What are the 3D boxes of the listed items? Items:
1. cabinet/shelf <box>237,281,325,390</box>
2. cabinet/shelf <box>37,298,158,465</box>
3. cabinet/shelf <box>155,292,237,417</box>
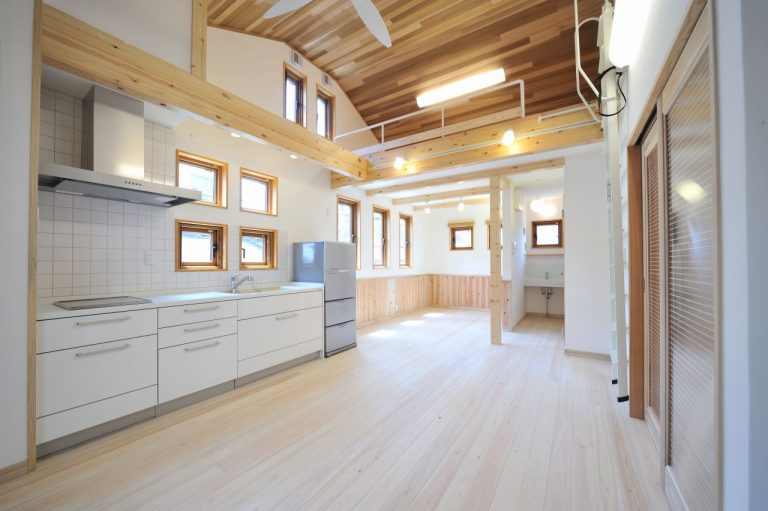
[{"bbox_3d":[-1.292,0.869,5.704,1.179,0.861,0.452,-9,10,-41],"label":"cabinet/shelf"},{"bbox_3d":[-2.800,0.994,4.393,0.832,1.188,1.087,7,6,38],"label":"cabinet/shelf"},{"bbox_3d":[-2.097,0.884,5.023,0.937,1.080,0.815,-3,14,-35],"label":"cabinet/shelf"}]
